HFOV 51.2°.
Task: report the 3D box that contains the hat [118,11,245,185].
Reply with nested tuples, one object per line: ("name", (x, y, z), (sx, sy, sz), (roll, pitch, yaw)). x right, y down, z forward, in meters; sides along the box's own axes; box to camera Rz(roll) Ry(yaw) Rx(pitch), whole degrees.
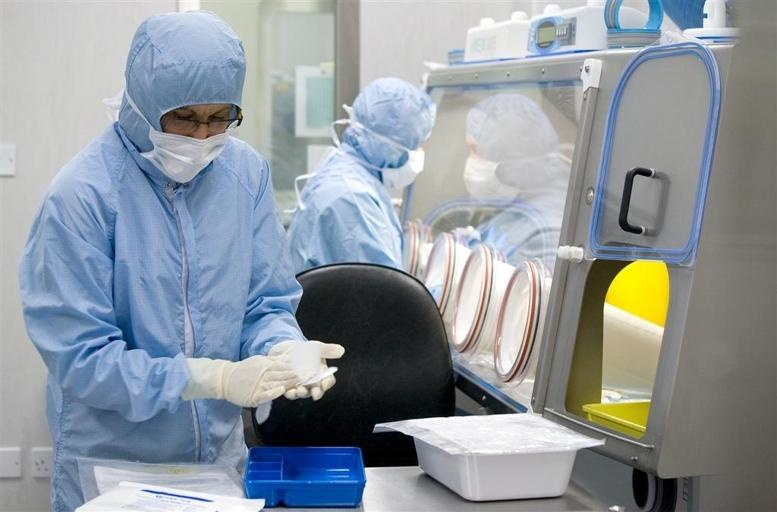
("hat", (-0.547, -0.435, 2.146), (0.309, 0.423, 0.320), (9, 36, -13))

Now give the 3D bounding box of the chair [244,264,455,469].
("chair", (-0.143, 0.312, 2.584), (0.515, 0.714, 0.581), (0, 2, -9))

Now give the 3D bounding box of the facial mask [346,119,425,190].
("facial mask", (-0.054, -0.336, 2.999), (0.220, 0.142, 0.286), (-2, 12, -14))

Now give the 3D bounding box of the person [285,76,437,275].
("person", (-0.058, -0.229, 3.266), (0.634, 1.033, 0.738), (2, 2, -11))

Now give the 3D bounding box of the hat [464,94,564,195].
("hat", (0.379, -0.438, 2.791), (0.359, 0.099, 0.290), (-14, -11, -29))

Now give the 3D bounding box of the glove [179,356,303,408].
("glove", (-0.348, 0.299, 2.015), (0.306, 0.093, 0.165), (5, 17, 0))
